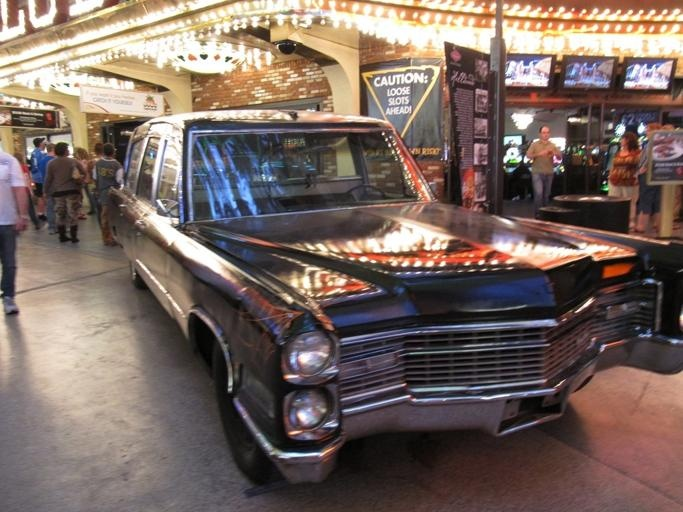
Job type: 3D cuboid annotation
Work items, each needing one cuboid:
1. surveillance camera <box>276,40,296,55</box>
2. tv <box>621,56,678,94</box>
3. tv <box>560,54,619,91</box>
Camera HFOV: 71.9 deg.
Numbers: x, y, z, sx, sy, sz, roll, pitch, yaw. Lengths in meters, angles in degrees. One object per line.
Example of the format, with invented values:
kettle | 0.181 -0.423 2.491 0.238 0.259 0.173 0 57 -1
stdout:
surveillance camera | -1.170 -4.388 9.907 0.418 0.201 0.639 -2 13 -2
tv | 7.684 -4.566 11.774 1.547 0.766 0.298 -7 19 -21
tv | 5.923 -4.431 11.312 1.472 0.719 0.307 -7 19 -23
